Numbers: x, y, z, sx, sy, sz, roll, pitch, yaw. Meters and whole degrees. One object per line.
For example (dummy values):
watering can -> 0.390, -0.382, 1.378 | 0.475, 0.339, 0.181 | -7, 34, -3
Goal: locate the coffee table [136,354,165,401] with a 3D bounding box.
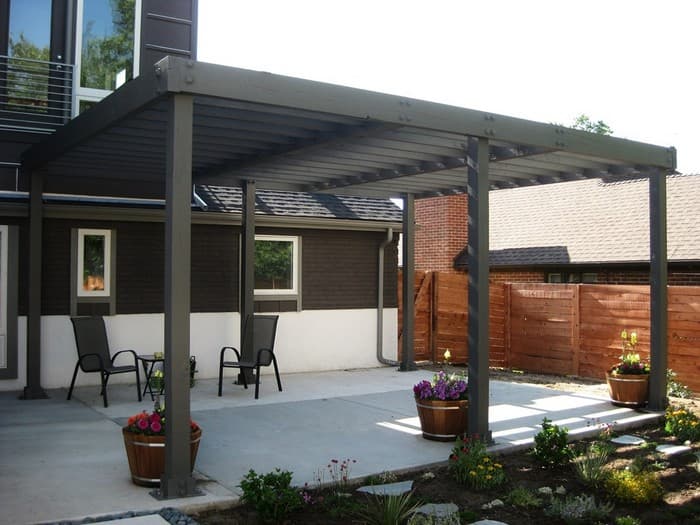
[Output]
coffee table -> -3.171, 1.802, 9.557 | 0.486, 0.522, 0.390 | -3, -2, 19

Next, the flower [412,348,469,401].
flower -> 1.379, 1.742, 9.633 | 0.868, 1.125, 1.111 | 3, -5, 4

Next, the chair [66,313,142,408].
chair -> -3.833, 1.433, 9.235 | 0.945, 1.222, 1.954 | -1, -1, -25

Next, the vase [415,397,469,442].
vase -> 1.036, 1.788, 6.914 | 0.491, 0.307, 0.496 | 1, -10, -1

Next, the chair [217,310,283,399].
chair -> -1.660, 1.527, 9.858 | 0.931, 1.283, 0.980 | -1, 0, 7

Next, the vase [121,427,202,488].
vase -> -1.863, 1.767, 5.720 | 0.559, 0.420, 0.559 | 2, -6, -6
